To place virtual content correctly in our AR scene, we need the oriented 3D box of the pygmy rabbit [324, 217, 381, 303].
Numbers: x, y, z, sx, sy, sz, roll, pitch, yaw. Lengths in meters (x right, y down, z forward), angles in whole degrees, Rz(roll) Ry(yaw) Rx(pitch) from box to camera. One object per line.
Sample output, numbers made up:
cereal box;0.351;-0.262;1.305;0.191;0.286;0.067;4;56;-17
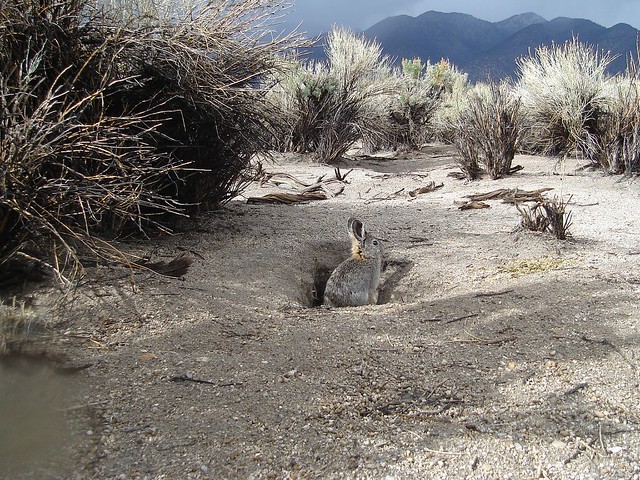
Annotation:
pygmy rabbit;0.343;0.250;5.452;0.432;0.907;0.725;7;12;28
